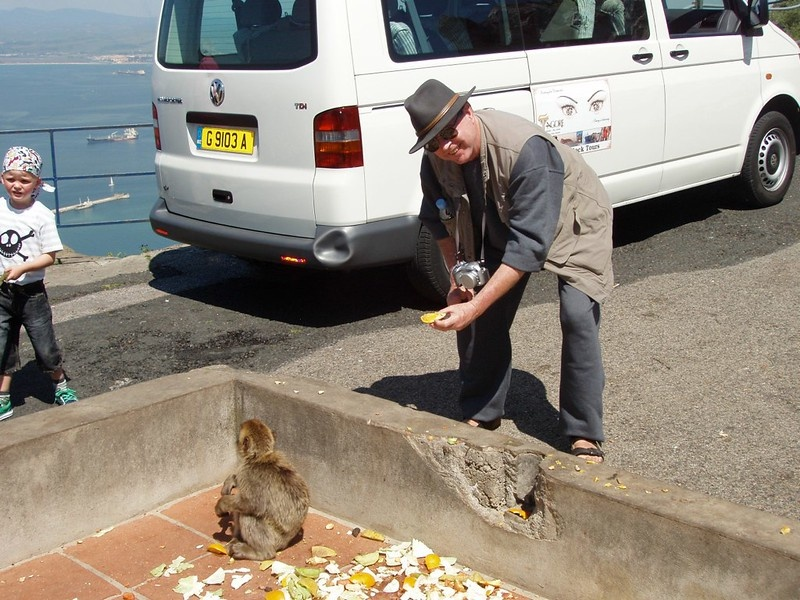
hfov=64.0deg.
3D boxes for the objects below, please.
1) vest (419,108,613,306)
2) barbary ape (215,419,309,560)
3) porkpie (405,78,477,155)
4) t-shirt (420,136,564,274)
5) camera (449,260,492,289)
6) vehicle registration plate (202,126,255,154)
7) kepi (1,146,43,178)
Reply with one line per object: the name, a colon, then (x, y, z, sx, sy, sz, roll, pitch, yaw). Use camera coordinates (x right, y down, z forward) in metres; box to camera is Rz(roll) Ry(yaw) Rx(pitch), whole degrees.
vest: (0.610, -0.451, 3.403, 1.033, 1.040, 0.983, -13, 20, -7)
barbary ape: (-0.630, 0.870, 3.005, 0.435, 0.603, 0.377, 8, 12, -4)
porkpie: (0.171, -0.862, 2.976, 0.275, 0.328, 0.241, -2, 15, -9)
t-shirt: (0.524, -0.508, 3.233, 0.430, 0.811, 0.653, -27, 21, -27)
camera: (0.378, -0.125, 3.386, 0.158, 0.158, 0.143, -2, 39, 34)
vehicle registration plate: (-1.487, -1.354, 5.448, 0.712, 0.214, 0.057, 12, 18, 36)
kepi: (-2.523, -0.930, 4.305, 0.182, 0.187, 0.249, 3, 7, 7)
